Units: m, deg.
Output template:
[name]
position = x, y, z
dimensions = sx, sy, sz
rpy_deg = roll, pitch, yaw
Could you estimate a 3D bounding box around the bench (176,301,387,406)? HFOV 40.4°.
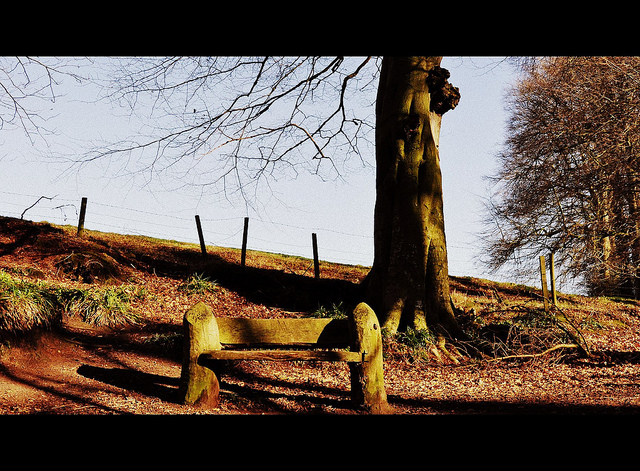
[bench]
position = -0.688, 2.001, 14.580
dimensions = 3.467, 1.581, 1.140
rpy_deg = 0, -2, -5
